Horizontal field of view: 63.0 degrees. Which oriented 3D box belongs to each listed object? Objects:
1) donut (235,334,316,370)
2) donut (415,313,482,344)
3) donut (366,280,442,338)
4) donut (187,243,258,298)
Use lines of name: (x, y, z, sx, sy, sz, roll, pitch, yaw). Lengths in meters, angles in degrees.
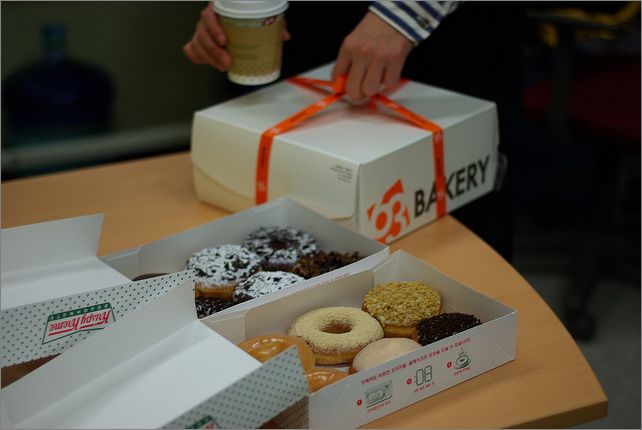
donut: (-0.079, 0.244, 0.908, 0.130, 0.069, 0.071, 5, 36, 6)
donut: (0.217, 0.196, 0.924, 0.067, 0.021, 0.067, -17, 8, -23)
donut: (0.166, 0.205, 0.991, 0.112, 0.037, 0.122, -16, 7, 19)
donut: (-0.236, 0.131, 1.113, 0.112, 0.042, 0.133, 5, 12, -19)
